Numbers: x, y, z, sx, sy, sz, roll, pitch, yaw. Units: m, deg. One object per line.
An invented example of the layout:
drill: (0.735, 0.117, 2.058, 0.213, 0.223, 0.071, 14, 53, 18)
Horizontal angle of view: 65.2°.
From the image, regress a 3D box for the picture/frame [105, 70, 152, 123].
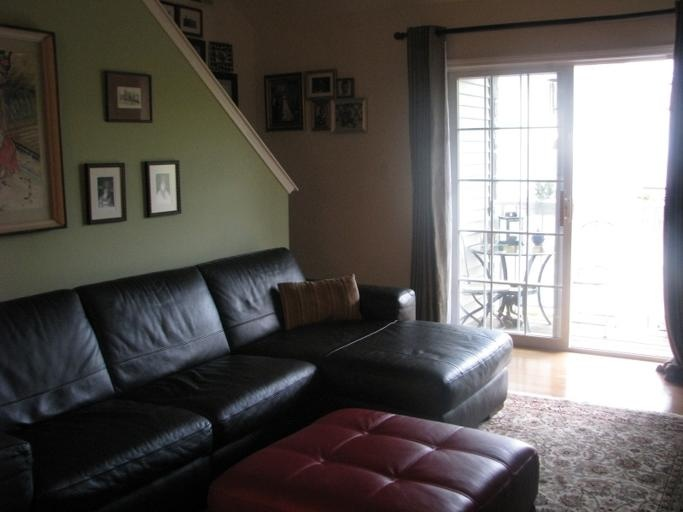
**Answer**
picture/frame: (-1.241, -0.926, 3.127, 0.293, 0.264, 0.023, 6, 13, 12)

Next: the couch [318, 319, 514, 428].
couch: (0.468, 0.771, 3.415, 1.184, 0.507, 1.092, -7, 7, -42)

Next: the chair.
chair: (1.376, 0.267, 4.758, 0.508, 0.602, 0.558, -6, -2, 31)

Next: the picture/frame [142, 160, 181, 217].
picture/frame: (-1.129, -0.422, 3.312, 0.024, 0.360, 0.301, 5, 14, 33)

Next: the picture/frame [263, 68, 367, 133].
picture/frame: (-0.210, -1.486, 5.049, 0.648, 0.428, 0.055, 1, 7, 15)
